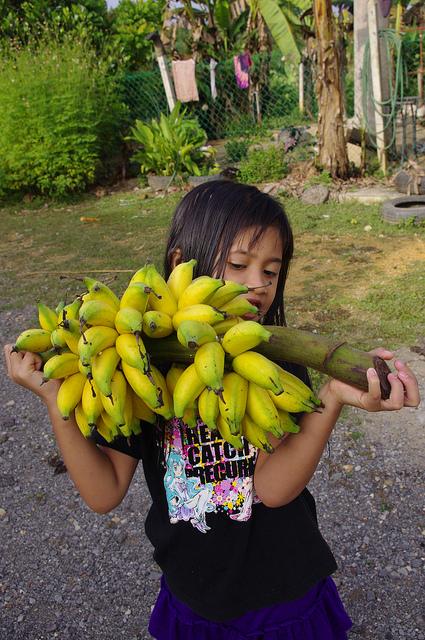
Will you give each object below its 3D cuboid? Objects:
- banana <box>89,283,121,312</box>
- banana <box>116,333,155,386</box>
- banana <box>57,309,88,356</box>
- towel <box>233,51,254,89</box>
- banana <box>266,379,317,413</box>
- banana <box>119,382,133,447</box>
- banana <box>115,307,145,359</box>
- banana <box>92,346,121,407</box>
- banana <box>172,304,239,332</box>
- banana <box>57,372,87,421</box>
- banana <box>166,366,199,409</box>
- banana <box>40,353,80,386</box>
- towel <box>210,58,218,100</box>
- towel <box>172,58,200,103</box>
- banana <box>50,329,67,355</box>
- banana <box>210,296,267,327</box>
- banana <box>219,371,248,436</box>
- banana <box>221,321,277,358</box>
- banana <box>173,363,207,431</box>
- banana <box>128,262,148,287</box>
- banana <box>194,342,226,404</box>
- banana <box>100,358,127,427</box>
[{"bbox_3d":[-0.185,-0.037,0.854,0.023,0.029,0.083,-34,-21,3],"label":"banana"},{"bbox_3d":[-0.123,0.052,0.747,0.031,0.037,0.107,-31,58,-8],"label":"banana"},{"bbox_3d":[-0.227,0.024,0.796,0.026,0.090,0.031,-7,43,-4],"label":"banana"},{"bbox_3d":[0.660,-5.324,10.335,0.233,0.557,0.647,-10,-25,-4],"label":"towel"},{"bbox_3d":[0.129,0.128,0.799,0.090,0.032,0.029,29,61,1],"label":"banana"},{"bbox_3d":[-0.141,0.157,0.807,0.023,0.118,0.030,-5,-6,-16],"label":"banana"},{"bbox_3d":[-0.134,0.020,0.755,0.029,0.035,0.096,0,35,-21],"label":"banana"},{"bbox_3d":[-0.167,0.086,0.758,0.026,0.035,0.095,-18,51,7],"label":"banana"},{"bbox_3d":[-0.020,-0.007,0.817,0.118,0.045,0.040,-4,53,16],"label":"banana"},{"bbox_3d":[-0.249,0.130,0.849,0.033,0.035,0.103,-21,20,12],"label":"banana"},{"bbox_3d":[-0.049,0.117,0.896,0.037,0.070,0.112,16,1,15],"label":"banana"},{"bbox_3d":[-0.261,0.083,0.841,0.034,0.038,0.109,-30,-11,31],"label":"banana"},{"bbox_3d":[0.053,-5.368,10.787,0.190,0.835,0.570,-5,17,2],"label":"towel"},{"bbox_3d":[-0.626,-5.409,10.945,0.680,1.009,0.296,1,14,6],"label":"towel"},{"bbox_3d":[-0.262,0.038,0.820,0.017,0.019,0.054,-17,28,-9],"label":"banana"},{"bbox_3d":[0.047,-0.017,0.863,0.122,0.039,0.035,-6,26,-17],"label":"banana"},{"bbox_3d":[0.032,0.126,0.755,0.033,0.038,0.106,3,46,-1],"label":"banana"},{"bbox_3d":[0.055,0.027,0.743,0.030,0.041,0.081,0,-14,-36],"label":"banana"},{"bbox_3d":[-0.036,0.113,0.772,0.034,0.088,0.027,22,8,-30],"label":"banana"},{"bbox_3d":[-0.128,-0.084,0.857,0.056,0.015,0.020,-54,0,-16],"label":"banana"},{"bbox_3d":[-0.002,0.073,0.733,0.045,0.062,0.096,-5,17,1],"label":"banana"},{"bbox_3d":[-0.151,0.124,0.772,0.033,0.120,0.042,16,-37,-32],"label":"banana"}]
